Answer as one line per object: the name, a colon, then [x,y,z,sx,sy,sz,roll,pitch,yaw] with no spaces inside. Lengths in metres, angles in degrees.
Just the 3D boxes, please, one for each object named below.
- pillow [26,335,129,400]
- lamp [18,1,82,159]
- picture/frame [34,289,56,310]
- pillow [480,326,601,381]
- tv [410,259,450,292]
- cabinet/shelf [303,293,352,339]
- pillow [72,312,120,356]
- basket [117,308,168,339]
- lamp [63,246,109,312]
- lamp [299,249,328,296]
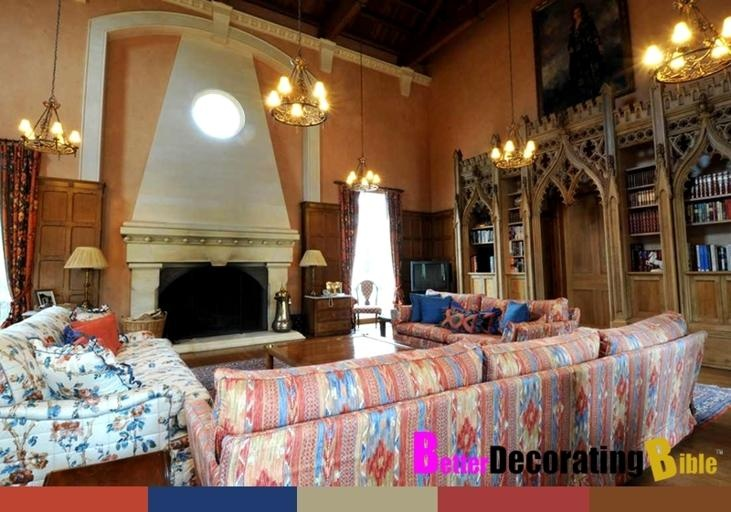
pillow: [-2.339,0.958,4.074,0.578,0.542,0.190,-2,3,-19]
lamp: [-4.371,-2.449,6.760,0.719,2.133,1.807,-7,15,-30]
picture/frame: [-4.452,0.591,6.857,0.037,0.343,0.263,-36,-24,34]
pillow: [1.383,0.779,3.923,0.485,0.155,0.497,-8,-2,-19]
tv: [1.250,0.369,9.843,0.889,0.890,0.522,0,-1,-4]
cabinet/shelf: [-0.612,0.996,8.664,0.674,0.669,0.418,-2,6,-23]
pillow: [-2.797,0.810,5.135,0.217,0.381,0.388,-10,-4,43]
basket: [-3.191,0.943,7.102,0.542,0.441,0.514,0,-3,-10]
lamp: [-3.960,0.262,7.070,0.496,0.846,0.578,-7,15,-29]
lamp: [-0.915,0.256,8.815,0.461,0.819,0.738,-2,13,-8]
